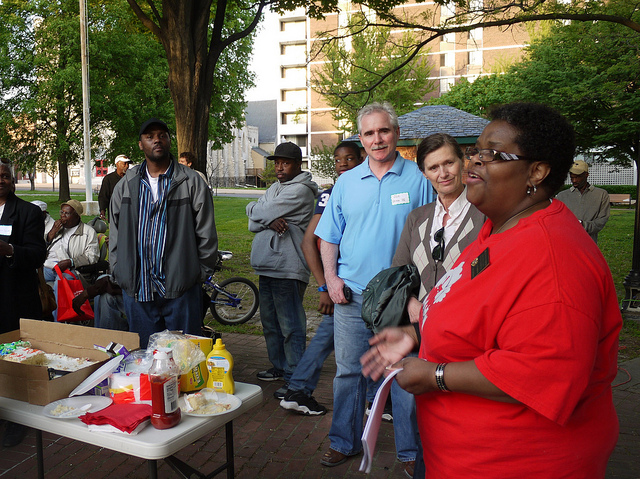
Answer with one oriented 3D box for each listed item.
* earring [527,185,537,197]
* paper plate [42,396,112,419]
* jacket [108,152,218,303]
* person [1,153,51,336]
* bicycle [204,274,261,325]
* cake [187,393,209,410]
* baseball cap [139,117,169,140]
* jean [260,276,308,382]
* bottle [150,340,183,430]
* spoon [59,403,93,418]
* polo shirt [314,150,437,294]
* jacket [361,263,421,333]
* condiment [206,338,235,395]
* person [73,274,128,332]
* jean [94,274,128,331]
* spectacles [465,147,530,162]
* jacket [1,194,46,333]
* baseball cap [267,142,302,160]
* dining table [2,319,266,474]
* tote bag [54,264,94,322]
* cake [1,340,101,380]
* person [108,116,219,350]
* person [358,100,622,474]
[{"bbox_3d":[0.892,-0.206,2.091,0.039,0.049,0.013,0,5,5],"label":"earring"},{"bbox_3d":[-1.381,0.915,2.878,0.353,0.069,0.369,-1,2,-28],"label":"paper plate"},{"bbox_3d":[-1.473,-0.107,4.736,0.840,1.476,0.563,4,8,-9],"label":"jacket"},{"bbox_3d":[-2.891,0.037,4.841,0.393,1.646,0.600,-2,5,-18],"label":"person"},{"bbox_3d":[-1.360,0.967,7.772,0.885,0.815,0.290,9,-16,-32],"label":"bicycle"},{"bbox_3d":[-0.703,0.922,2.853,0.084,0.079,0.076,3,3,-13],"label":"cake"},{"bbox_3d":[-1.600,-1.026,4.600,0.300,0.191,0.396,-4,11,-22],"label":"baseball cap"},{"bbox_3d":[-0.413,0.876,5.426,0.577,1.312,0.401,5,5,45],"label":"jean"},{"bbox_3d":[-0.842,0.806,2.733,0.164,0.398,0.201,-2,5,-16],"label":"bottle"},{"bbox_3d":[-1.351,0.957,2.781,0.063,0.023,0.175,3,6,38],"label":"spoon"},{"bbox_3d":[0.398,-0.191,3.897,0.808,1.160,0.728,3,8,-1],"label":"polo shirt"},{"bbox_3d":[0.455,0.377,3.257,0.333,0.374,0.468,1,5,20],"label":"jacket"},{"bbox_3d":[-0.633,0.813,3.184,0.202,0.372,0.100,-1,4,10],"label":"condiment"},{"bbox_3d":[-2.465,0.679,5.864,0.316,0.931,0.319,30,7,25],"label":"person"},{"bbox_3d":[-2.412,0.728,5.860,0.371,0.581,0.347,5,6,11],"label":"jean"},{"bbox_3d":[0.740,-0.368,2.135,0.275,0.071,0.088,4,6,43],"label":"spectacles"},{"bbox_3d":[-2.883,0.211,4.845,0.367,1.299,0.568,-1,5,-11],"label":"jacket"},{"bbox_3d":[-0.360,-0.963,5.454,0.302,0.159,0.190,2,7,-22],"label":"baseball cap"},{"bbox_3d":[-1.265,1.071,3.275,1.284,0.788,0.718,4,9,27],"label":"dining table"},{"bbox_3d":[-2.894,0.642,5.907,0.359,0.547,0.358,-1,9,-22],"label":"tote bag"},{"bbox_3d":[-1.787,0.753,3.190,0.338,0.073,0.300,7,-4,30],"label":"cake"},{"bbox_3d":[-1.424,-0.052,4.584,0.976,2.114,0.583,-2,6,-20],"label":"person"},{"bbox_3d":[0.787,0.257,2.100,0.821,1.695,0.426,3,6,31],"label":"person"}]
